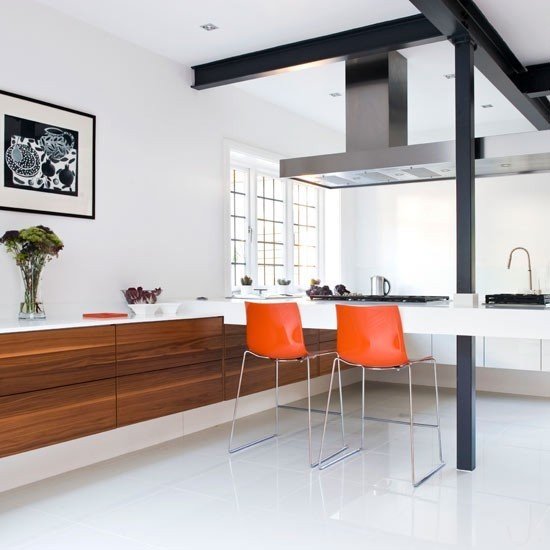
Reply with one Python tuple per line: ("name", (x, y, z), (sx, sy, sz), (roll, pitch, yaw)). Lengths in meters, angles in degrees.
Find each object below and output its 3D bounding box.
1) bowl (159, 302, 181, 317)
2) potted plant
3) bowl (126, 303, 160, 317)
("bowl", (-0.762, 0.249, 3.402), (0.134, 0.096, 0.308), (0, -4, -11))
("potted plant", (-1.403, -0.011, 2.725), (0.282, 0.536, 0.170), (0, -3, -7))
("bowl", (-0.947, 0.256, 3.406), (0.234, 0.092, 0.578), (1, -4, -15))
